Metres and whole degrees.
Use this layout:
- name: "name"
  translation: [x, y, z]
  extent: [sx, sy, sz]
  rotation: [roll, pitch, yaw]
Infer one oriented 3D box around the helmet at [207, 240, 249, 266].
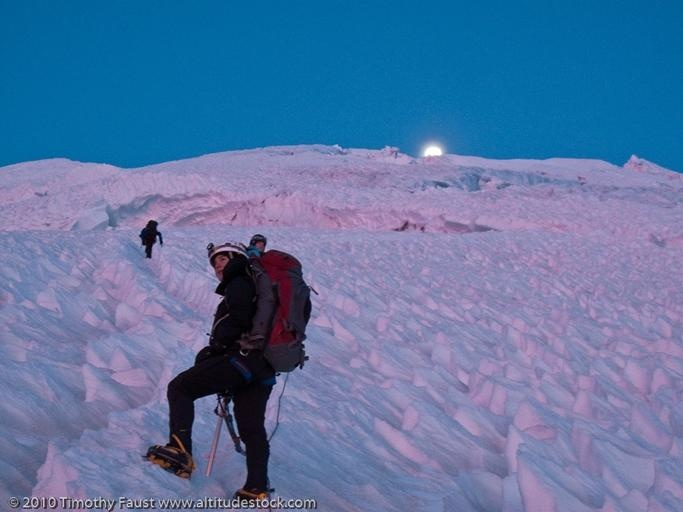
- name: "helmet"
  translation: [-1.358, -0.026, 7.832]
  extent: [0.358, 0.184, 0.319]
  rotation: [-4, 0, -3]
